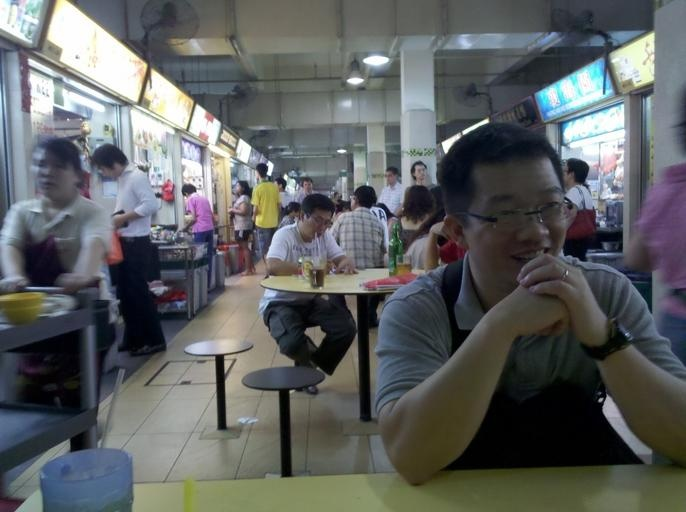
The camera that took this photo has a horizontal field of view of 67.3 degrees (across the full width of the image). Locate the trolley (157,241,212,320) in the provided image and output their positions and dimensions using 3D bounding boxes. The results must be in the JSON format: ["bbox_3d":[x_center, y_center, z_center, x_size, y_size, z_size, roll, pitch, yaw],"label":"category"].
[{"bbox_3d":[-2.092,0.257,6.487,0.634,0.754,1.068,-1,2,-5],"label":"trolley"}]

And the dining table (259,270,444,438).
[{"bbox_3d":[-0.088,0.464,3.396,0.992,0.711,1.014,-2,2,-10],"label":"dining table"}]

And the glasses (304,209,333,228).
[{"bbox_3d":[-0.172,-0.253,3.654,0.123,0.084,0.158,2,-5,-14],"label":"glasses"}]

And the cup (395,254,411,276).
[{"bbox_3d":[0.397,0.061,3.491,0.107,0.188,0.116,-1,-1,0],"label":"cup"}]

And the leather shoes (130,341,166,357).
[{"bbox_3d":[-1.744,0.836,4.614,0.214,0.055,0.116,-7,3,-22],"label":"leather shoes"}]

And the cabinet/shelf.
[{"bbox_3d":[-1.892,0.196,6.313,0.660,0.800,1.084,-1,3,-3],"label":"cabinet/shelf"}]

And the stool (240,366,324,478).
[{"bbox_3d":[-0.283,0.804,2.803,0.465,0.577,0.472,1,5,24],"label":"stool"}]

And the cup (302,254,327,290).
[{"bbox_3d":[-0.207,0.093,3.128,0.192,0.208,0.128,-1,5,-8],"label":"cup"}]
